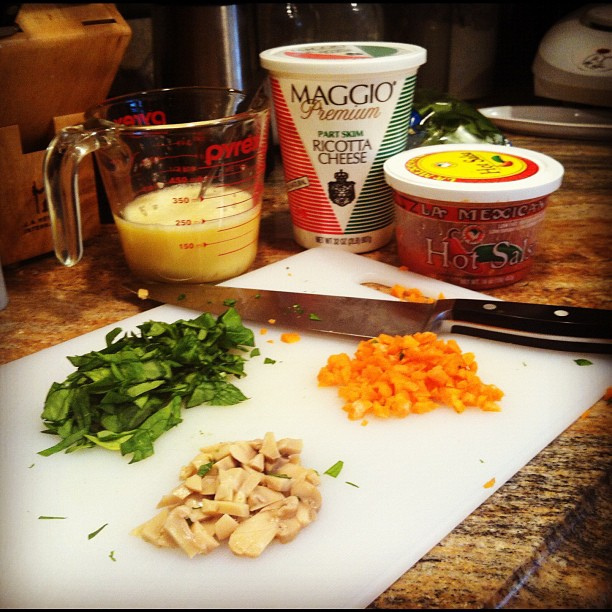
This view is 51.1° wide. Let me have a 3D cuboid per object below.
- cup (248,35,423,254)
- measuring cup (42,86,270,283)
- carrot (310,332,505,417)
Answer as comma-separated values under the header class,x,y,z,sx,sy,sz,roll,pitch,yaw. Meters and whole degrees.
class,x,y,z,sx,sy,sz,roll,pitch,yaw
cup,0.044,-0.254,1.081,0.256,0.348,0.246,1,35,-1
measuring cup,-0.211,-0.191,1.079,0.382,0.325,0.252,-4,28,-3
carrot,0.114,0.074,0.767,0.195,0.048,0.175,-4,29,-9
